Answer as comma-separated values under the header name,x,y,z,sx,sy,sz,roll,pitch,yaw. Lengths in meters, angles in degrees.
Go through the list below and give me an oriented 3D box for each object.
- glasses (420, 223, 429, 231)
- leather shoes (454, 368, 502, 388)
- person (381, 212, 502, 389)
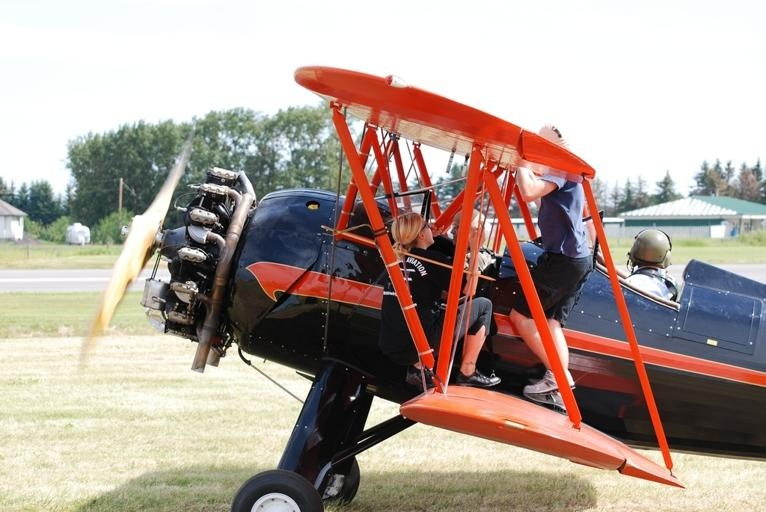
name,x,y,z,sx,sy,sz,roll,pitch,yaw
glasses,0.458,-0.318,8.896,0.026,0.082,0.080,-5,-7,17
leather shoes,1.074,1.395,9.176,0.568,0.218,0.194,-1,3,-9
person,0.617,0.506,9.003,1.222,1.942,0.769,4,13,7
